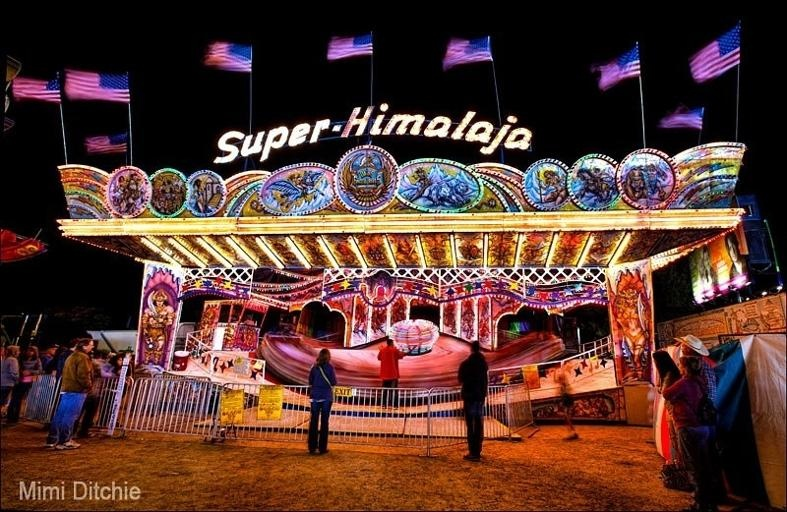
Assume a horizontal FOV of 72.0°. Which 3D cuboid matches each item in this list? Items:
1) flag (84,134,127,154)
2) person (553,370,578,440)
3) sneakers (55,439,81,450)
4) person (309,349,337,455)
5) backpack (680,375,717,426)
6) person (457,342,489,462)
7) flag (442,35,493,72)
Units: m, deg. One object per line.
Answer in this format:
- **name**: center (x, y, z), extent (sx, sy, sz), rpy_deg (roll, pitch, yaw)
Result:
- **flag**: center (-9.814, -3.854, 18.669), extent (1.246, 0.642, 0.758), rpy_deg (-2, 1, 10)
- **person**: center (5.651, 4.586, 17.895), extent (0.557, 1.862, 0.307), rpy_deg (8, -17, -25)
- **sneakers**: center (-8.091, 4.666, 13.460), extent (0.473, 0.215, 0.195), rpy_deg (3, -7, -22)
- **person**: center (-1.836, 3.673, 13.828), extent (0.617, 2.562, 0.889), rpy_deg (3, -16, -6)
- **backpack**: center (6.416, 3.018, 11.518), extent (0.676, 0.896, 0.329), rpy_deg (4, -13, -40)
- **person**: center (1.984, 3.592, 13.650), extent (0.698, 2.880, 0.463), rpy_deg (0, -16, 4)
- **flag**: center (2.463, -6.813, 18.190), extent (1.564, 1.116, 0.404), rpy_deg (-2, -16, 10)
